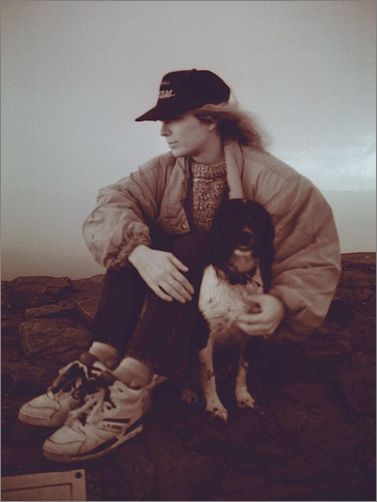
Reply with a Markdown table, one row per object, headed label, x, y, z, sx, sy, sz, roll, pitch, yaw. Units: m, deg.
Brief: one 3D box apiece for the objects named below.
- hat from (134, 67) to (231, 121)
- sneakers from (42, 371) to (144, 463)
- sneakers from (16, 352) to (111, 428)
| label | x | y | z | sx | sy | sz | roll | pitch | yaw |
| --- | --- | --- | --- | --- | --- | --- | --- | --- | --- |
| hat | -0.021 | -0.547 | 1.754 | 0.388 | 0.167 | 0.222 | -2 | 12 | -20 |
| sneakers | -0.223 | 0.556 | 1.684 | 0.460 | 0.145 | 0.192 | -25 | -24 | -20 |
| sneakers | -0.412 | 0.471 | 1.647 | 0.281 | 0.087 | 0.122 | -31 | -1 | -18 |
